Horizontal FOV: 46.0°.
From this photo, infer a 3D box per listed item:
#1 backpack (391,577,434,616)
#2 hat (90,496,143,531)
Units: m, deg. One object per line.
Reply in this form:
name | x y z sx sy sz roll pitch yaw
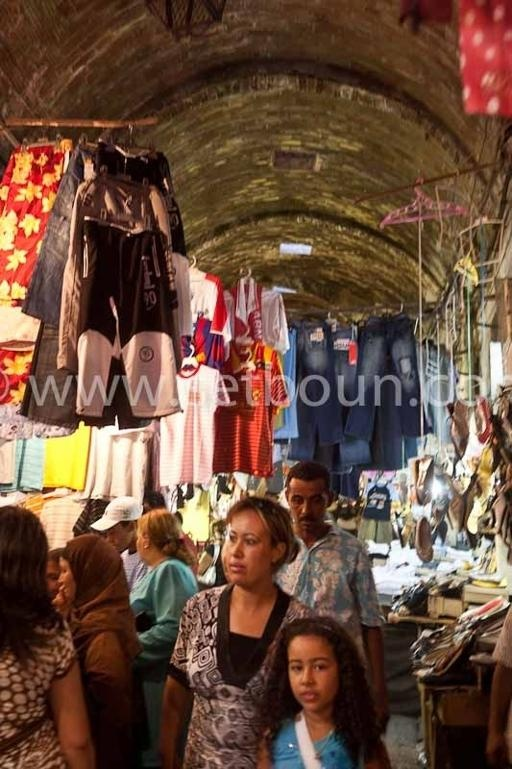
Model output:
backpack | 1.437 1.943 5.525 0.272 0.326 0.894 1 -14 -9
hat | -0.850 0.788 3.733 0.313 0.192 0.201 -4 4 -42
